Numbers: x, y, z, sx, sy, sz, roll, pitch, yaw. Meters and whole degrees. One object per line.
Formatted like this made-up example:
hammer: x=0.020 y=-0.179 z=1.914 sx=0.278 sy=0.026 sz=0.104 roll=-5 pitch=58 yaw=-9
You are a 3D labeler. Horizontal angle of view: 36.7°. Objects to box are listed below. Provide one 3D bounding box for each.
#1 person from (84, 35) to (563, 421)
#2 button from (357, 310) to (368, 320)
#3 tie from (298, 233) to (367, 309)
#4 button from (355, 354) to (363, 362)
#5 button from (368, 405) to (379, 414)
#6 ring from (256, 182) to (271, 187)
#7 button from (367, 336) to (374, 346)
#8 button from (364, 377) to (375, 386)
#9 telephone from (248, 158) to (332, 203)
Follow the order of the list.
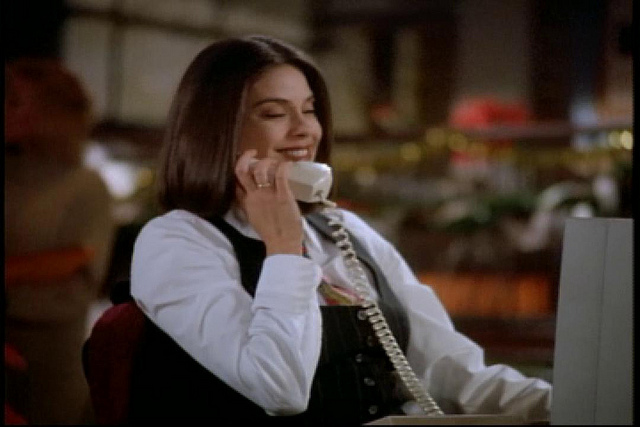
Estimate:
person: x=-0.157 y=0.211 z=3.635 sx=1.501 sy=1.575 sz=1.163 roll=-12 pitch=-6 yaw=33
button: x=0.136 y=0.338 z=3.194 sx=0.026 sy=0.028 sz=0.006 roll=0 pitch=-12 yaw=-4
tie: x=0.007 y=0.225 z=3.254 sx=0.100 sy=0.376 sz=0.117 roll=-7 pitch=-26 yaw=-49
button: x=0.127 y=0.479 z=3.180 sx=0.026 sy=0.024 sz=0.011 roll=-3 pitch=8 yaw=-7
button: x=0.175 y=0.644 z=3.157 sx=0.037 sy=0.030 sz=0.009 roll=-5 pitch=8 yaw=-21
ring: x=-0.183 y=-0.093 z=3.160 sx=0.043 sy=0.014 sz=0.020 roll=-4 pitch=8 yaw=-13
button: x=0.166 y=0.424 z=3.185 sx=0.022 sy=0.031 sz=0.009 roll=-3 pitch=8 yaw=-10
button: x=0.162 y=0.549 z=3.166 sx=0.030 sy=0.021 sz=0.007 roll=33 pitch=-24 yaw=-29
telephone: x=-0.106 y=-0.112 z=3.183 sx=0.220 sy=0.097 sz=0.142 roll=14 pitch=-26 yaw=9
